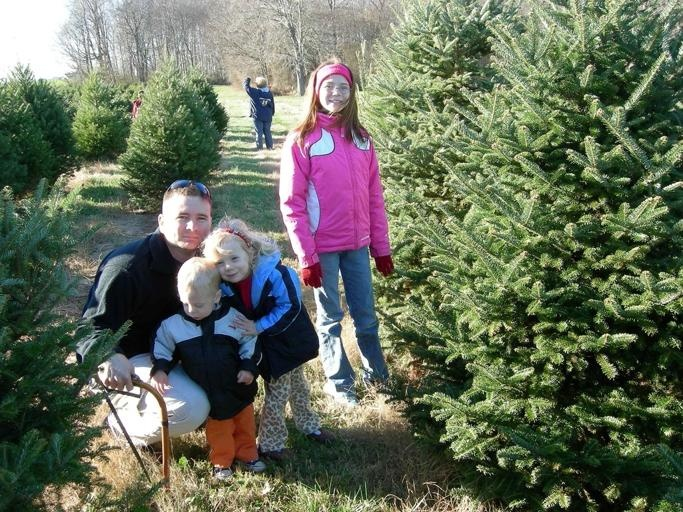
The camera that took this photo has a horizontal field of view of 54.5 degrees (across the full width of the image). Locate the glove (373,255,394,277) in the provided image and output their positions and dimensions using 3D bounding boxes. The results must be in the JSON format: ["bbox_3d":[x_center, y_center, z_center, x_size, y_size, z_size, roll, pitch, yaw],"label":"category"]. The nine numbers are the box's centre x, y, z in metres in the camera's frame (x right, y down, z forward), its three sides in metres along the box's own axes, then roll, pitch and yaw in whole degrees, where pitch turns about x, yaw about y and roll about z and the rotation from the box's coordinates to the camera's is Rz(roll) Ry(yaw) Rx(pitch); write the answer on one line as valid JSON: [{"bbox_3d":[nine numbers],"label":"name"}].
[{"bbox_3d":[0.312,0.065,4.888,0.116,0.155,0.042,-9,3,21],"label":"glove"}]

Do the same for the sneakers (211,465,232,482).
[{"bbox_3d":[-0.750,1.351,4.134,0.119,0.042,0.067,1,39,5],"label":"sneakers"}]

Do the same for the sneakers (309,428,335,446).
[{"bbox_3d":[-0.134,1.239,4.538,0.198,0.085,0.079,5,20,12],"label":"sneakers"}]

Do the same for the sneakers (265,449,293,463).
[{"bbox_3d":[-0.414,1.307,4.358,0.189,0.075,0.069,0,5,-2],"label":"sneakers"}]

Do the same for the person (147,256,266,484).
[{"bbox_3d":[-0.842,0.695,4.093,0.651,1.363,0.411,-5,19,-16],"label":"person"}]

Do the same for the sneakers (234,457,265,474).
[{"bbox_3d":[-0.584,1.327,4.217,0.190,0.070,0.077,0,0,10],"label":"sneakers"}]
